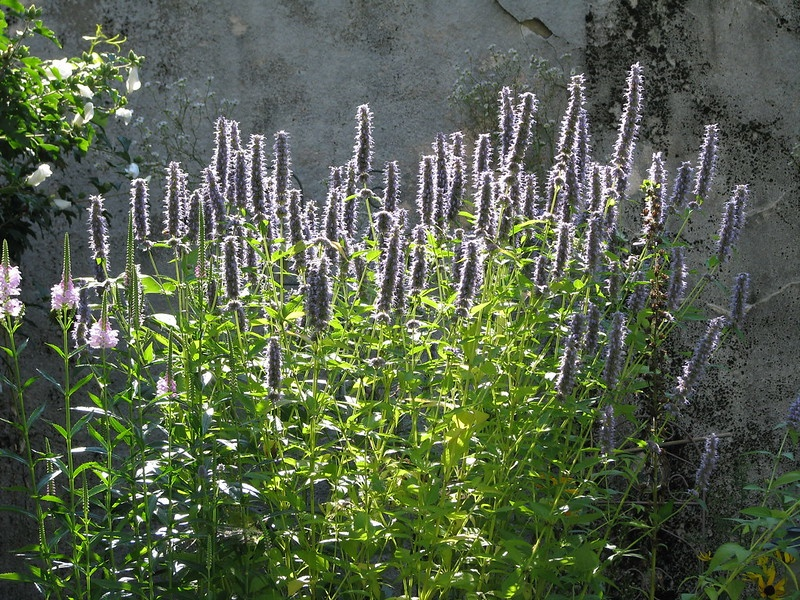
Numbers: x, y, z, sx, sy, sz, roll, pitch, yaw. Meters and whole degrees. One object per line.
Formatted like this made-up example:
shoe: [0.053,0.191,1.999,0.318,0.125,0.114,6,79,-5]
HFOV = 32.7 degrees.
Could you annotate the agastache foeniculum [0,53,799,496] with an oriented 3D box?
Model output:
agastache foeniculum: [0.037,0.138,6.409,3.246,1.469,1.953,3,49,-3]
